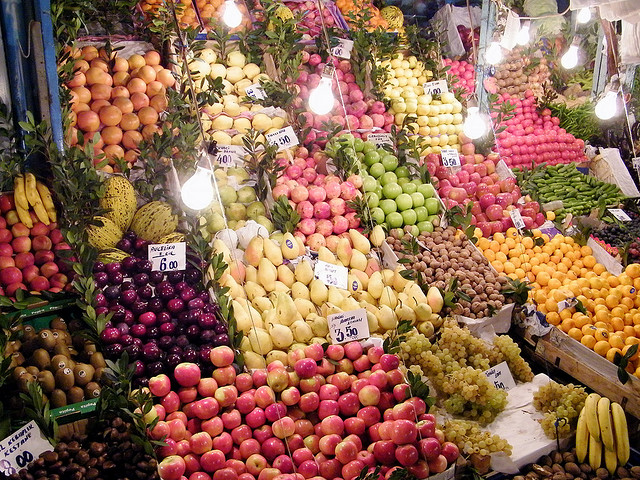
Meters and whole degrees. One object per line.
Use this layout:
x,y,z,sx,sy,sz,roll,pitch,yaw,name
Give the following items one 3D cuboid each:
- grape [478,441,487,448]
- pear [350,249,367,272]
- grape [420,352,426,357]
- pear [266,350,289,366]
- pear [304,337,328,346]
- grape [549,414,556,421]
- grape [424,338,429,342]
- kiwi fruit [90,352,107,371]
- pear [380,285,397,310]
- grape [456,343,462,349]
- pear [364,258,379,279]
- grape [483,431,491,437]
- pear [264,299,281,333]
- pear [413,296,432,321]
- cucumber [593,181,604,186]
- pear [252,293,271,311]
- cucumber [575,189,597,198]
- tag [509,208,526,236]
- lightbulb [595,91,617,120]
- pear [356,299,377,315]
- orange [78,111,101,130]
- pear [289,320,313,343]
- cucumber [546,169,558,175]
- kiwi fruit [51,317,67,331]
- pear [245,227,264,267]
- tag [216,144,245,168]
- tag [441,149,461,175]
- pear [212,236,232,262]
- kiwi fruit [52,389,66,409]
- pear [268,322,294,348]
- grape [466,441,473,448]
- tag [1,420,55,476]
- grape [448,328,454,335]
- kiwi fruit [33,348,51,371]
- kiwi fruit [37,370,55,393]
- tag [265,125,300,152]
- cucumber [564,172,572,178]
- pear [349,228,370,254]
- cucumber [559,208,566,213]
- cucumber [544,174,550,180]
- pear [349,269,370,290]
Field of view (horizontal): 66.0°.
1.125,1.415,3.427,0.036,0.046,0.038,-19,-16,-2,grape
0.332,0.176,4.318,0.123,0.177,0.099,-8,-6,3,pear
0.799,0.890,3.840,0.045,0.036,0.022,-12,8,12,grape
-0.303,0.837,3.596,0.131,0.116,0.116,3,44,26,pear
-0.019,0.753,3.715,0.079,0.087,0.099,-8,-14,44,pear
1.720,1.314,3.661,0.049,0.026,0.034,-18,9,-21,grape
0.847,0.792,3.923,0.035,0.014,0.037,0,-1,-15,grape
-1.480,0.803,3.279,0.091,0.107,0.062,-19,10,-30,kiwi fruit
0.558,0.486,4.070,0.145,0.231,0.150,-1,-1,-8,pear
1.104,0.848,3.947,0.038,0.045,0.018,-13,8,5,grape
0.457,0.247,4.324,0.104,0.145,0.082,-8,-26,-7,pear
1.184,1.377,3.508,0.043,0.035,0.033,-23,-35,35,grape
-0.350,0.587,3.720,0.103,0.144,0.084,-5,-21,-17,pear
0.834,0.572,4.073,0.081,0.196,0.090,-39,-3,43,pear
3.582,-0.721,6.344,0.179,0.067,0.047,-19,10,-24,cucumber
-0.460,0.496,3.879,0.076,0.133,0.078,-50,-3,5,pear
3.301,-0.579,6.159,0.245,0.071,0.058,-13,7,-17,cucumber
2.064,-0.171,5.164,0.091,0.304,0.041,-11,-18,-1,tag
3.181,-1.494,5.493,0.191,0.286,0.306,-8,10,32,lightbulb
0.377,0.532,4.051,0.062,0.188,0.063,-46,-24,-14,pear
-2.019,-1.026,4.345,0.141,0.152,0.149,-1,-24,-5,orange
-0.147,0.695,3.757,0.126,0.165,0.130,-38,4,45,pear
2.993,-0.880,6.384,0.153,0.084,0.035,-16,9,-8,cucumber
-1.806,0.586,3.417,0.093,0.091,0.096,-7,11,39,kiwi fruit
-0.557,0.061,4.230,0.167,0.378,0.179,3,-46,-9,pear
-0.857,-0.791,4.656,0.207,0.313,0.039,2,2,-2,tag
1.468,-0.888,5.579,0.243,0.297,0.086,-18,10,-24,tag
-0.796,0.091,4.085,0.143,0.238,0.164,-23,-8,-16,pear
-1.626,0.987,3.073,0.075,0.107,0.074,-16,0,-37,kiwi fruit
-0.296,0.707,3.677,0.170,0.131,0.095,-12,9,13,pear
1.040,1.422,3.441,0.031,0.037,0.026,-11,9,20,grape
-1.730,1.204,2.883,0.271,0.324,0.056,-21,12,-40,tag
1.053,0.735,3.976,0.043,0.034,0.053,-11,9,20,grape
-1.764,0.760,3.141,0.085,0.143,0.063,-19,10,-33,kiwi fruit
-1.701,0.883,3.072,0.084,0.127,0.091,-12,-5,22,kiwi fruit
-0.356,-0.965,4.727,0.302,0.228,0.074,-21,16,-19,tag
3.205,-0.835,6.387,0.104,0.051,0.035,-34,-3,-22,cucumber
0.355,0.012,4.500,0.121,0.240,0.121,-32,-6,-45,pear
2.802,-0.340,5.700,0.046,0.038,0.065,1,12,12,cucumber
2.908,-0.817,6.343,0.055,0.056,0.112,-9,10,30,cucumber
0.338,0.333,4.241,0.129,0.165,0.076,-43,-9,21,pear
